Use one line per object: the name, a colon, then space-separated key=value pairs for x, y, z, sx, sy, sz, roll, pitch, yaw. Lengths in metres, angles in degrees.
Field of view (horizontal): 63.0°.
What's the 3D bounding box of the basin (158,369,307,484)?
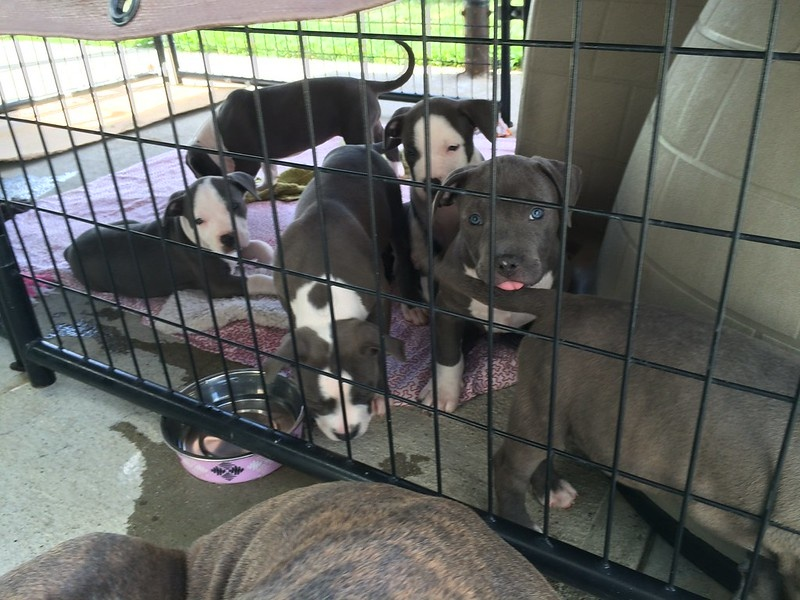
basin: x=-0.649 y=0.506 z=2.529 sx=0.650 sy=0.146 sz=0.546 roll=-16 pitch=32 yaw=-25
